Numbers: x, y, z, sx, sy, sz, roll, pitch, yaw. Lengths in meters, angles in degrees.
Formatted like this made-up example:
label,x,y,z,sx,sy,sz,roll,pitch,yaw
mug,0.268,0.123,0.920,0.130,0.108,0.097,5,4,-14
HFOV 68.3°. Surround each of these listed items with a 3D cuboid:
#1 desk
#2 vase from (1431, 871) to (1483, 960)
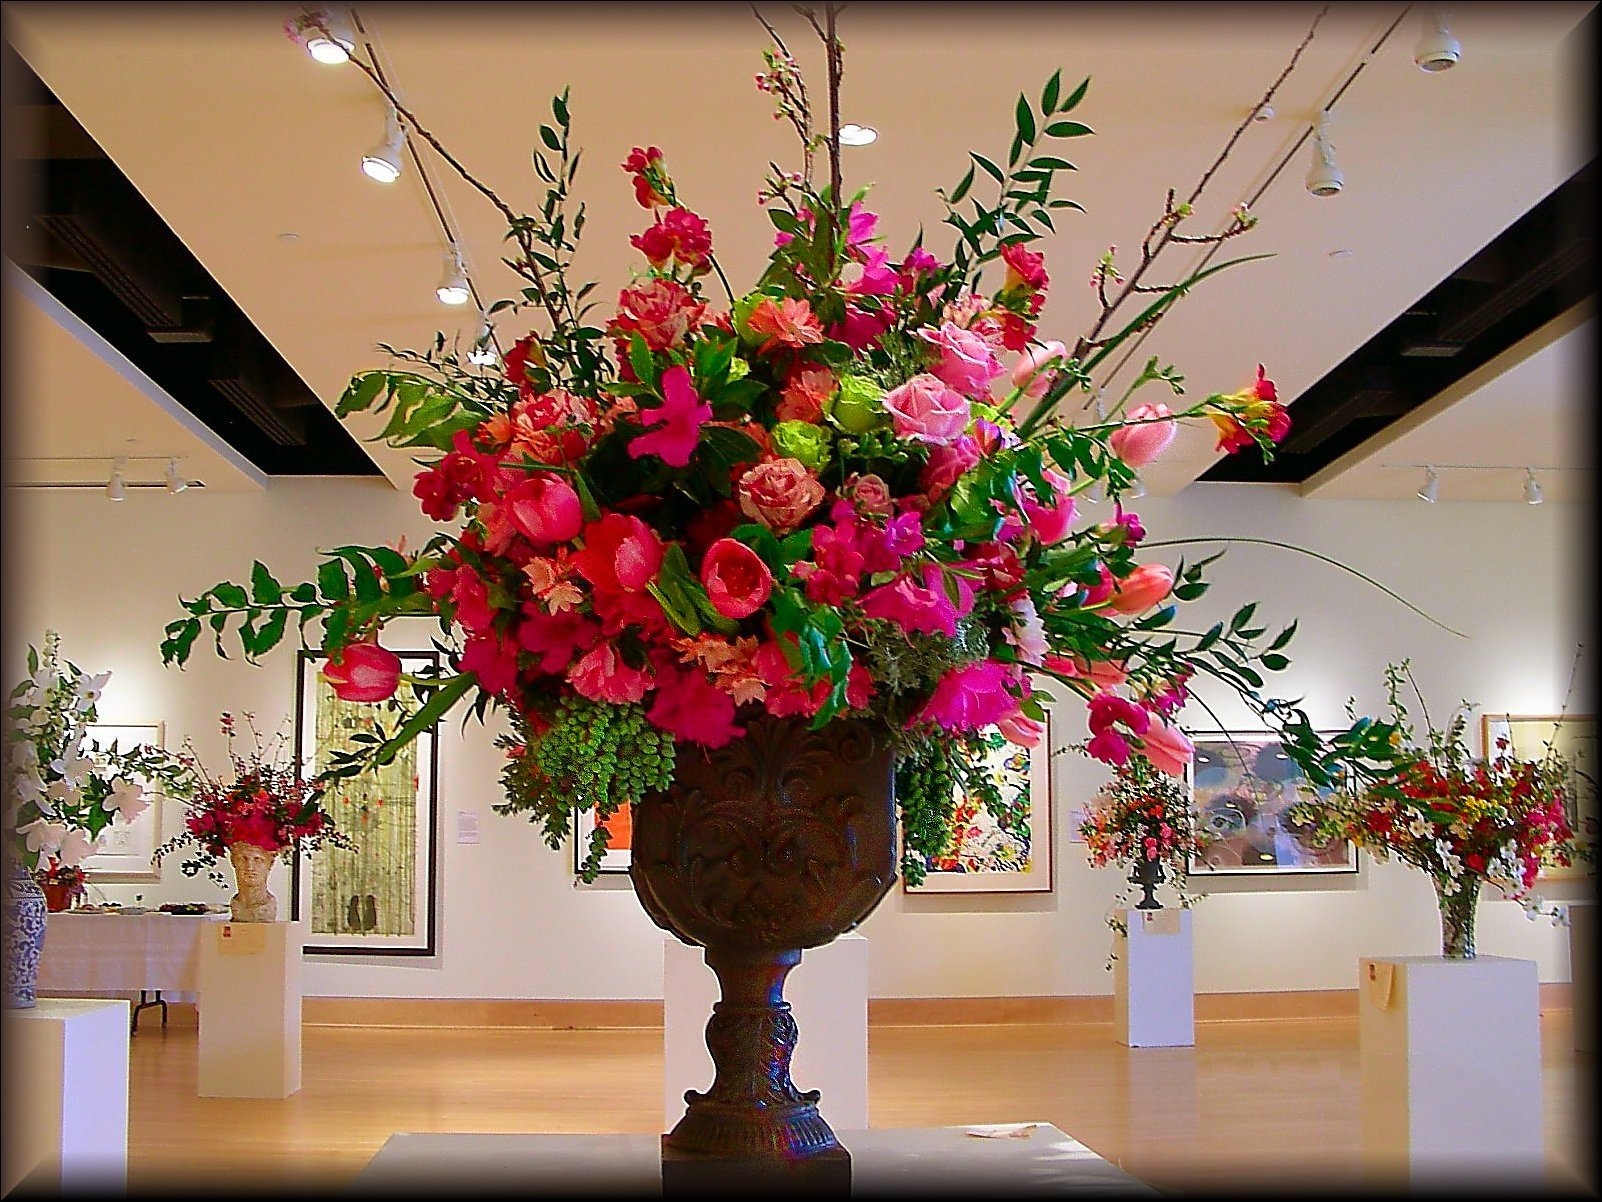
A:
label,x,y,z,sx,sy,sz,roll,pitch,yaw
desk,-4.902,2.578,8.759,1.246,0.638,1.285,0,-4,14
vase,3.113,1.463,5.597,0.300,0.447,0.333,-4,-15,31
